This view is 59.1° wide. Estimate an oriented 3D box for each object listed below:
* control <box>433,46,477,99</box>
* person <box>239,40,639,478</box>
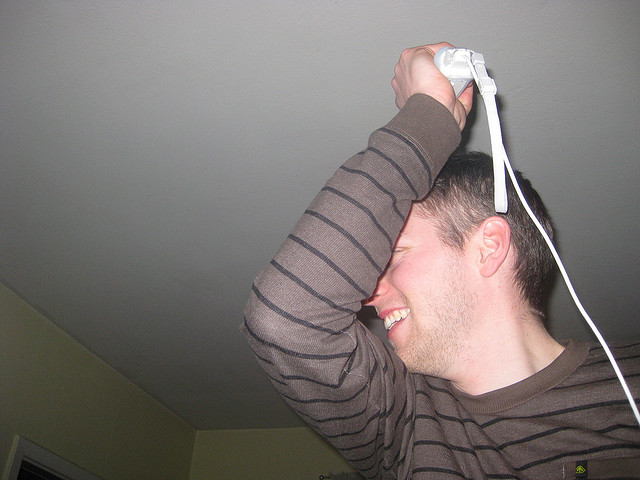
[{"bbox_3d":[0.320,-0.417,1.410,0.122,0.106,0.150,5,-32,11],"label":"control"},{"bbox_3d":[0.147,-0.013,1.517,0.597,1.203,0.939,-27,-40,3],"label":"person"}]
